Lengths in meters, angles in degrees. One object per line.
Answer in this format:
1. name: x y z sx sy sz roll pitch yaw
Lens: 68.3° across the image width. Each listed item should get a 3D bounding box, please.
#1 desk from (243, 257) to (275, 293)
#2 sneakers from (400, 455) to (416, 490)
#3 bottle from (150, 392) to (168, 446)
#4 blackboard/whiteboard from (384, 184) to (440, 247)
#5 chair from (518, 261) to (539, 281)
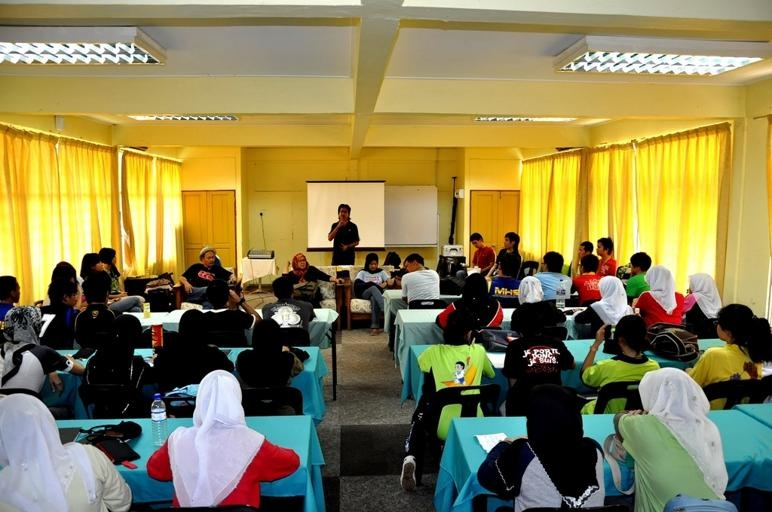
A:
1. desk: -2.638 0.414 11.512 0.830 0.638 0.796 -1 10 -7
2. sneakers: 0.177 1.785 4.701 0.139 0.284 0.129 2 2 -5
3. bottle: -1.560 1.145 3.923 0.110 0.288 0.190 5 12 -20
4. blackboard/whiteboard: 0.515 -0.897 12.979 1.433 1.279 0.321 -2 7 -8
5. chair: 2.447 0.262 9.966 0.333 0.470 0.336 1 12 0
